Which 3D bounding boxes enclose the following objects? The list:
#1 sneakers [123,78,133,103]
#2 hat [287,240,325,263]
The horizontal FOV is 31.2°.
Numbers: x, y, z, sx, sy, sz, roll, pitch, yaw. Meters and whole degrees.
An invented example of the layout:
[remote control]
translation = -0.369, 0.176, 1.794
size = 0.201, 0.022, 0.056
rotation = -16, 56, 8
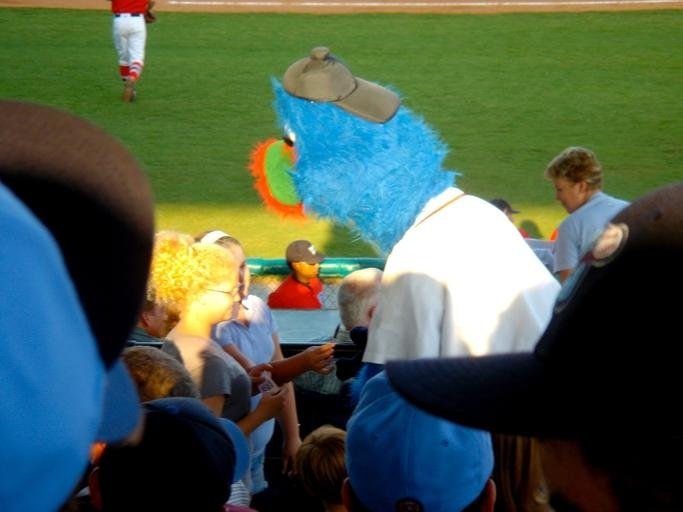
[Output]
[sneakers]
translation = -2.957, -2.318, 17.169
size = 0.134, 0.337, 0.156
rotation = 6, 27, 3
[hat]
translation = -0.343, -0.044, 11.505
size = 0.294, 0.150, 0.202
rotation = -2, 22, 4
